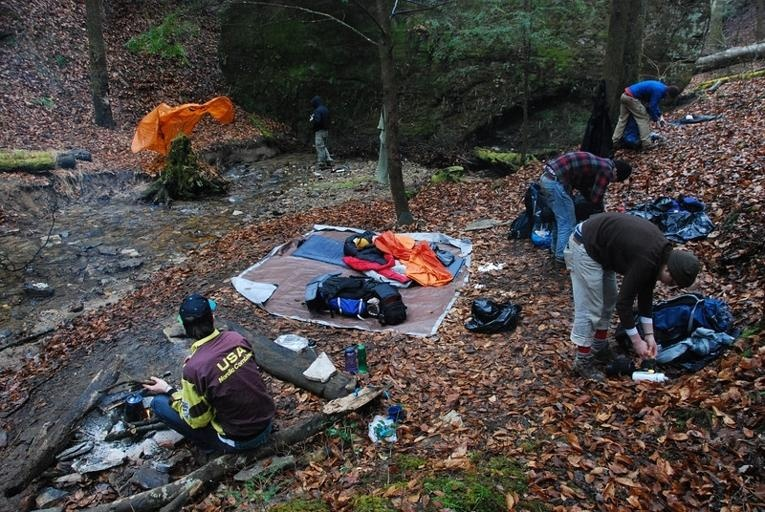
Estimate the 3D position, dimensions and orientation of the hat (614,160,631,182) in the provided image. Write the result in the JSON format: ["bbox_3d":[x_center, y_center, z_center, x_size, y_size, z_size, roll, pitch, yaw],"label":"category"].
[{"bbox_3d":[4.495,-1.601,10.312,0.267,0.418,0.289,1,27,21],"label":"hat"}]

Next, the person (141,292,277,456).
[{"bbox_3d":[-2.587,1.906,8.262,1.652,2.429,0.840,-12,26,-6],"label":"person"}]

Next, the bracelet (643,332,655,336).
[{"bbox_3d":[4.036,1.182,8.324,0.128,0.028,0.118,-4,11,-13],"label":"bracelet"}]

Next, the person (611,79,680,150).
[{"bbox_3d":[6.216,-3.357,13.159,1.308,1.563,0.467,3,29,24],"label":"person"}]

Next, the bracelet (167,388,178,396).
[{"bbox_3d":[-3.249,2.113,8.550,0.165,0.151,0.141,-5,68,-14],"label":"bracelet"}]

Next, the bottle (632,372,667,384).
[{"bbox_3d":[4.094,1.818,8.390,0.459,0.174,0.173,2,35,23],"label":"bottle"}]
